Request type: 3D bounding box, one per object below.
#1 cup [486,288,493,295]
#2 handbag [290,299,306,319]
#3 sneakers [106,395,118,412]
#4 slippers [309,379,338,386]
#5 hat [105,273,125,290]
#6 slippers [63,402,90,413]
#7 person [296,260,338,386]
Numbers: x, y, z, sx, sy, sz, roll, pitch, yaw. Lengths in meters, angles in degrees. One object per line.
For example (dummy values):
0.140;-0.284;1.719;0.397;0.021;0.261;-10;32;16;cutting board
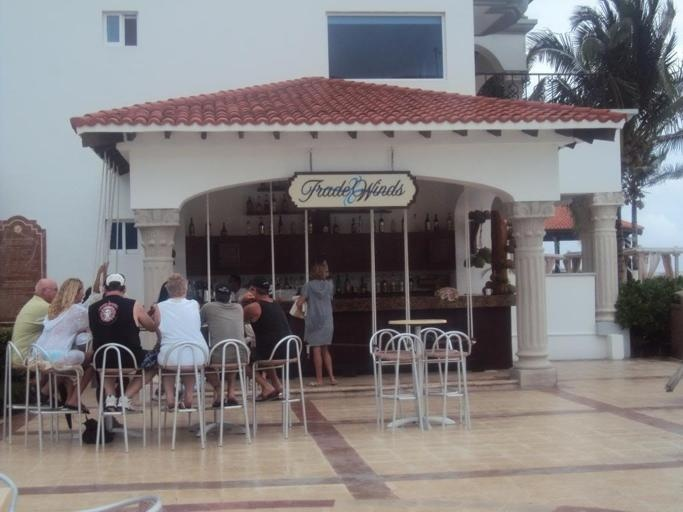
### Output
3.173;0.792;21.129;0.163;0.130;0.129;9;-10;-41;cup
-0.821;1.029;18.630;0.349;0.436;0.222;8;-6;-36;handbag
-3.453;2.214;14.665;0.179;0.221;0.319;-3;9;-13;sneakers
-0.339;2.451;18.661;0.459;0.137;0.190;4;-9;-19;slippers
-3.445;0.386;15.031;0.273;0.238;0.422;5;1;-11;hat
-4.029;2.345;14.936;0.400;0.130;0.162;10;1;-20;slippers
-0.407;1.299;18.755;0.720;2.413;0.884;2;8;15;person
